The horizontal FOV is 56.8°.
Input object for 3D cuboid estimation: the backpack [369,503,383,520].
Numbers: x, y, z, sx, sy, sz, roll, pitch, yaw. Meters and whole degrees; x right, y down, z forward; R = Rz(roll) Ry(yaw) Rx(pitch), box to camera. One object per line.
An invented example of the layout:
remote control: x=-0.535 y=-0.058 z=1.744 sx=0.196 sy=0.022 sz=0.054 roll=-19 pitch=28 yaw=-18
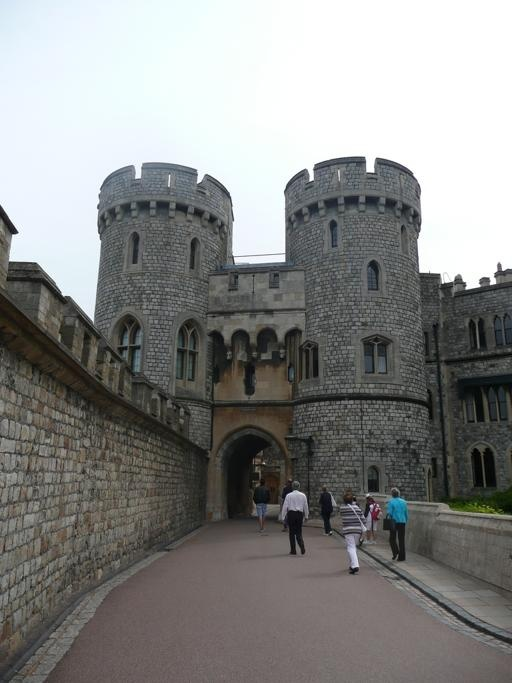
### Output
backpack: x=2.937 y=4.161 z=11.632 sx=0.166 sy=0.388 sz=0.493 roll=-6 pitch=-15 yaw=25

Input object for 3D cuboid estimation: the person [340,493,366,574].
person: x=1.644 y=3.215 z=8.016 sx=0.382 sy=1.262 sz=0.912 roll=-3 pitch=-13 yaw=10

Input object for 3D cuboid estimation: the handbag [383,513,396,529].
handbag: x=2.519 y=3.458 z=9.072 sx=0.388 sy=0.269 sz=0.233 roll=10 pitch=-18 yaw=-38

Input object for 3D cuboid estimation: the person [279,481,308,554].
person: x=0.841 y=3.818 z=10.294 sx=0.536 sy=1.502 sz=1.671 roll=-1 pitch=-14 yaw=3

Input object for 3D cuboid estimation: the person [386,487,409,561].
person: x=2.755 y=3.539 z=9.202 sx=0.377 sy=1.315 sz=0.593 roll=-5 pitch=-12 yaw=19
